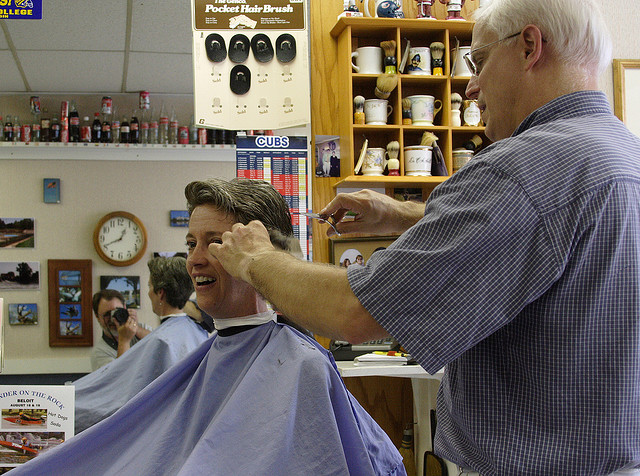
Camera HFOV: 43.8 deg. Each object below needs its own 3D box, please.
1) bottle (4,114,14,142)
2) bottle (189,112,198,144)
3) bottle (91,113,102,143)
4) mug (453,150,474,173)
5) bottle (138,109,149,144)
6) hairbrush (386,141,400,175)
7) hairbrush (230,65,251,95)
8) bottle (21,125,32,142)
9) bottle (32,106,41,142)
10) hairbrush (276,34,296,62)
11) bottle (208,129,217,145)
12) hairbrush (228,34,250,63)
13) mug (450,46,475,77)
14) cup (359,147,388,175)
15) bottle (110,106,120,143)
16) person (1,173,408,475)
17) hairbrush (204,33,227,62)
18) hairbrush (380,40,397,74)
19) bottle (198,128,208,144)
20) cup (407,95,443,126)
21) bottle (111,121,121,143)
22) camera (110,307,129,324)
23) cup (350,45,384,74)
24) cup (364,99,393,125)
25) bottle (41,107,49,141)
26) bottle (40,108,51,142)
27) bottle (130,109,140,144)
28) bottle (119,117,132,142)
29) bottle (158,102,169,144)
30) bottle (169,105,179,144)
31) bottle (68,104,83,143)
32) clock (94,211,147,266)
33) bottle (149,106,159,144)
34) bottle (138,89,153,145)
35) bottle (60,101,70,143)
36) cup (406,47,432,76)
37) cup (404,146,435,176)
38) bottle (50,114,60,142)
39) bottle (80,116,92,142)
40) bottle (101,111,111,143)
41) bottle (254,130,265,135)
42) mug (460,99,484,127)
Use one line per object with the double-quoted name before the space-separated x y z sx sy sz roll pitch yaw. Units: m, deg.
"bottle" -2.845 -1.024 7.269 0.085 0.181 0.250 -4 3 -22
"bottle" -1.178 -1.037 7.398 0.080 0.313 0.346 -3 3 -9
"bottle" -2.053 -1.027 7.306 0.103 0.258 0.100 -3 3 0
"mug" 0.814 -0.438 4.477 0.104 0.131 0.117 1 -3 7
"bottle" -1.640 -1.054 7.385 0.106 0.325 0.249 -3 3 -13
"hairbrush" 0.408 -0.447 4.376 0.070 0.181 0.048 -2 3 6
"hairbrush" -0.424 -0.861 4.267 0.111 0.183 0.014 0 39 -7
"bottle" -2.659 -0.957 7.199 0.091 0.105 0.119 -3 3 -8
"bottle" -2.588 -1.049 7.282 0.088 0.220 0.293 -4 3 -19
"hairbrush" -0.186 -1.040 4.278 0.120 0.213 0.021 0 2 2
"bottle" -0.989 -0.949 7.343 0.085 0.147 0.080 -3 3 0
"hairbrush" -0.430 -1.035 4.258 0.116 0.019 0.181 1 -40 -13
"mug" 0.800 -0.999 4.435 0.091 0.188 0.232 -3 3 -16
"cup" 0.295 -0.432 4.343 0.138 0.132 0.099 2 -4 -17
"bottle" -1.895 -1.069 7.363 0.083 0.362 0.276 -3 3 -15
"person" -0.423 0.440 3.211 1.139 1.262 1.286 11 -18 -33
"hairbrush" -0.556 -1.025 4.234 0.088 0.154 0.046 -8 6 -7
"hairbrush" 0.378 -0.995 4.335 0.080 0.185 0.059 -2 3 7
"bottle" -1.079 -0.949 7.308 0.080 0.142 0.124 -2 3 7
"cup" 0.592 -0.716 4.473 0.185 0.178 0.187 1 1 0
"bottle" -1.879 -1.001 7.353 0.082 0.196 0.145 -3 3 -16
"camera" -1.181 0.457 4.688 0.085 0.098 0.035 5 -6 -30
"cup" 0.262 -0.987 4.346 0.161 0.141 0.127 -3 5 -11
"cup" 0.324 -0.698 4.347 0.129 0.119 0.118 0 -4 0
"bottle" -2.518 -1.061 7.282 0.071 0.329 0.232 -3 3 -17
"bottle" -2.509 -1.048 7.264 0.103 0.335 0.257 -3 3 -19
"bottle" -1.713 -1.048 7.351 0.093 0.348 0.295 -3 3 -13
"bottle" -1.790 -1.011 7.315 0.114 0.239 0.140 -3 3 -16
"bottle" -1.461 -1.095 7.424 0.107 0.397 0.242 -3 3 -11
"bottle" -1.362 -1.077 7.412 0.092 0.390 0.298 -3 3 -10
"bottle" -2.244 -1.068 7.295 0.121 0.376 0.264 -3 3 -18
"clock" -1.830 0.017 7.303 0.485 0.595 0.071 3 -31 -20
"bottle" -1.541 -1.068 7.387 0.096 0.380 0.298 -3 3 -12
"bottle" -1.616 -1.144 7.377 0.129 0.502 0.292 -3 3 -13
"bottle" -2.328 -1.071 7.261 0.102 0.389 0.219 -3 3 -18
"cup" 0.552 -0.979 4.412 0.135 0.172 0.140 0 6 0
"cup" 0.552 -0.420 4.381 0.134 0.152 0.146 -1 0 0
"bottle" -2.412 -1.011 7.229 0.088 0.261 0.156 -4 3 -19
"bottle" -2.154 -1.014 7.322 0.108 0.250 0.238 -3 3 -16
"bottle" -1.977 -1.027 7.350 0.087 0.279 0.273 -3 3 -15
"bottle" -0.340 -0.601 4.455 0.035 0.041 0.040 1 -1 5
"mug" 0.852 -0.711 4.474 0.124 0.167 0.105 -2 3 11
